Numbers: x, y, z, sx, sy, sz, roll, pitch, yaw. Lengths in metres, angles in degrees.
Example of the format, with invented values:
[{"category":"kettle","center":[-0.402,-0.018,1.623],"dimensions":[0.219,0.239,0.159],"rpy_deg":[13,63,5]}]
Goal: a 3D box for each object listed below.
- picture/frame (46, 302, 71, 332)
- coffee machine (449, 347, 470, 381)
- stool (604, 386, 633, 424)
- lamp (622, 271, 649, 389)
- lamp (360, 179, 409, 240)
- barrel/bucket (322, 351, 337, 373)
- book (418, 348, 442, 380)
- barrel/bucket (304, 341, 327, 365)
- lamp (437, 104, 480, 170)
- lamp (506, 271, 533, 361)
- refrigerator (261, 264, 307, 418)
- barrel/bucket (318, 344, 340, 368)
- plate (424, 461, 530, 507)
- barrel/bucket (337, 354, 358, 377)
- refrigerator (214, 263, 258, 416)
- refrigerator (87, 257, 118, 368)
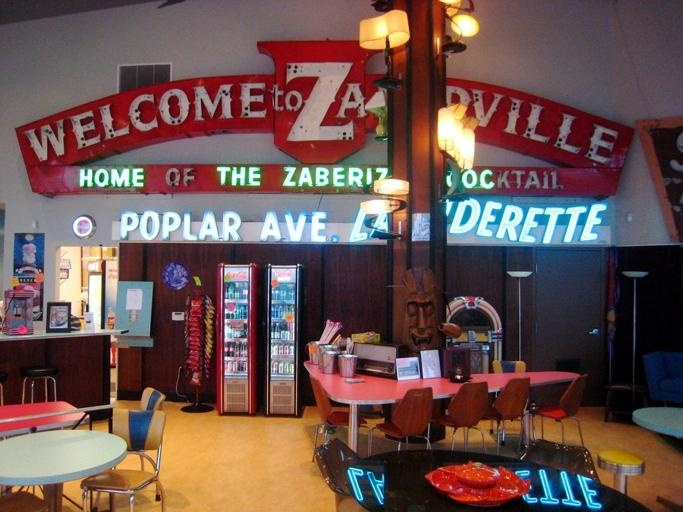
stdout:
[{"category":"picture/frame","center":[-4.344,0.949,9.961],"dimensions":[0.418,0.610,0.043],"rpy_deg":[0,-8,-11]},{"category":"coffee machine","center":[1.612,1.508,8.914],"dimensions":[0.307,0.463,0.247],"rpy_deg":[3,-23,-1]},{"category":"stool","center":[4.633,2.461,10.817],"dimensions":[0.551,0.512,0.576],"rpy_deg":[-1,-6,20]},{"category":"lamp","center":[4.948,1.215,11.033],"dimensions":[0.367,1.909,0.735],"rpy_deg":[5,11,26]},{"category":"lamp","center":[0.631,-0.673,8.868],"dimensions":[0.832,0.927,0.736],"rpy_deg":[3,-1,0]},{"category":"barrel/bucket","center":[-0.192,1.511,9.234],"dimensions":[0.276,0.294,0.195],"rpy_deg":[2,-1,-30]},{"category":"book","center":[1.213,1.509,8.983],"dimensions":[0.369,0.440,0.054],"rpy_deg":[2,-10,-33]},{"category":"barrel/bucket","center":[-0.446,1.456,9.742],"dimensions":[0.372,0.366,0.256],"rpy_deg":[3,-3,-19]},{"category":"lamp","center":[1.555,-1.574,8.675],"dimensions":[0.350,0.878,0.629],"rpy_deg":[8,12,40]},{"category":"lamp","center":[3.034,1.002,11.117],"dimensions":[0.455,1.505,0.366],"rpy_deg":[2,10,8]},{"category":"refrigerator","center":[-0.938,1.381,10.531],"dimensions":[0.567,2.419,0.457],"rpy_deg":[0,10,-2]},{"category":"barrel/bucket","center":[-0.197,1.471,9.330],"dimensions":[0.317,0.293,0.250],"rpy_deg":[2,-2,-13]},{"category":"plate","center":[1.289,2.120,6.104],"dimensions":[0.967,0.287,0.386],"rpy_deg":[1,10,0]},{"category":"barrel/bucket","center":[0.071,1.540,9.058],"dimensions":[0.247,0.292,0.277],"rpy_deg":[2,-4,-8]},{"category":"refrigerator","center":[-1.715,1.367,10.569],"dimensions":[0.591,2.400,0.461],"rpy_deg":[0,10,-2]},{"category":"refrigerator","center":[-4.809,1.265,13.099],"dimensions":[0.622,2.344,2.328],"rpy_deg":[-4,10,-22]}]
